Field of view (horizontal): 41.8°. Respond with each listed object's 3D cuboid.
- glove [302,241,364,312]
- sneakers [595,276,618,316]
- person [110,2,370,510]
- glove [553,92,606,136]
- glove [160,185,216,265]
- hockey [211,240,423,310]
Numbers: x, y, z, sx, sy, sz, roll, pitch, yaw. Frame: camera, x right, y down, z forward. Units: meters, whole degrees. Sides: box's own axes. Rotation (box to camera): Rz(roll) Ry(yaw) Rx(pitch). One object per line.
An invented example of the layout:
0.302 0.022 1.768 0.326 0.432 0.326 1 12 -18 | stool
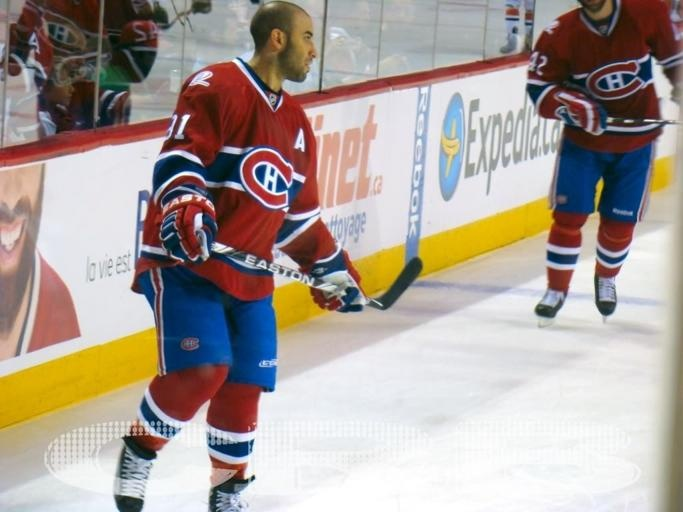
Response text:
0.004 0.074 3.044 0.230 0.181 0.101 14 42 40 | glove
1.395 0.214 4.724 0.077 0.264 0.103 -4 -9 10 | sneakers
-0.345 0.053 2.798 0.394 1.632 0.817 14 21 36 | person
1.150 -0.698 4.342 0.232 0.101 0.178 34 10 25 | glove
-0.423 -0.084 2.532 0.079 0.201 0.146 9 -13 -39 | glove
-0.097 0.079 3.414 0.704 0.124 0.162 19 27 -37 | hockey
